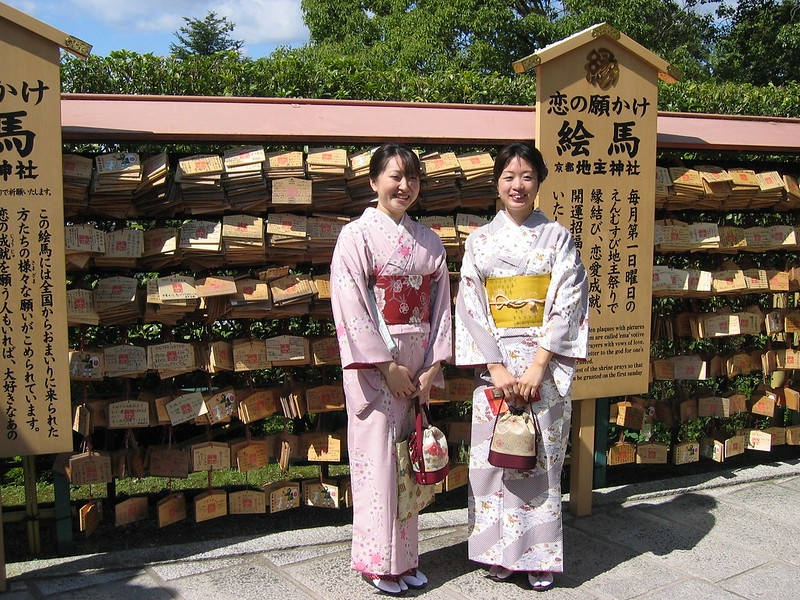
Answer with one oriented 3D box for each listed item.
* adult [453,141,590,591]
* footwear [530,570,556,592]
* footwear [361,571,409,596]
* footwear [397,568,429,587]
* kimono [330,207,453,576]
[{"bbox_3d":[0.766,0.553,4.823,0.842,2.272,0.627,2,11,10],"label":"adult"},{"bbox_3d":[0.927,1.791,4.764,0.189,0.076,0.104,-3,11,-18],"label":"footwear"},{"bbox_3d":[-0.085,1.781,4.683,0.241,0.063,0.102,5,17,30],"label":"footwear"},{"bbox_3d":[0.082,1.764,4.733,0.152,0.052,0.089,4,31,8],"label":"footwear"},{"bbox_3d":[-0.071,0.574,4.747,0.548,2.276,0.759,11,15,44],"label":"kimono"}]
